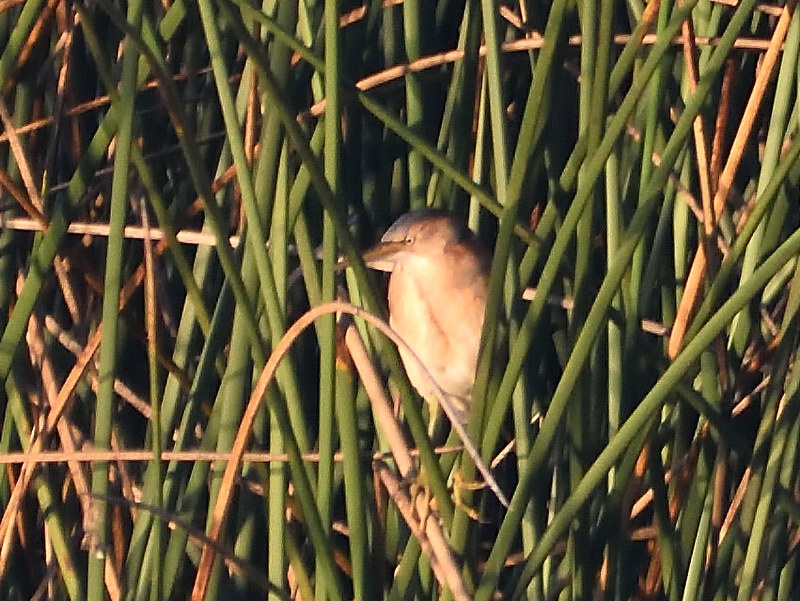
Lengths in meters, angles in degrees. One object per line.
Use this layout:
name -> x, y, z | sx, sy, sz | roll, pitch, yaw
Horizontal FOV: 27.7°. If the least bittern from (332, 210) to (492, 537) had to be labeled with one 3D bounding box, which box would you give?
least bittern -> 0.034, 0.008, 1.192 | 0.110, 0.195, 0.081 | -17, 20, -29
